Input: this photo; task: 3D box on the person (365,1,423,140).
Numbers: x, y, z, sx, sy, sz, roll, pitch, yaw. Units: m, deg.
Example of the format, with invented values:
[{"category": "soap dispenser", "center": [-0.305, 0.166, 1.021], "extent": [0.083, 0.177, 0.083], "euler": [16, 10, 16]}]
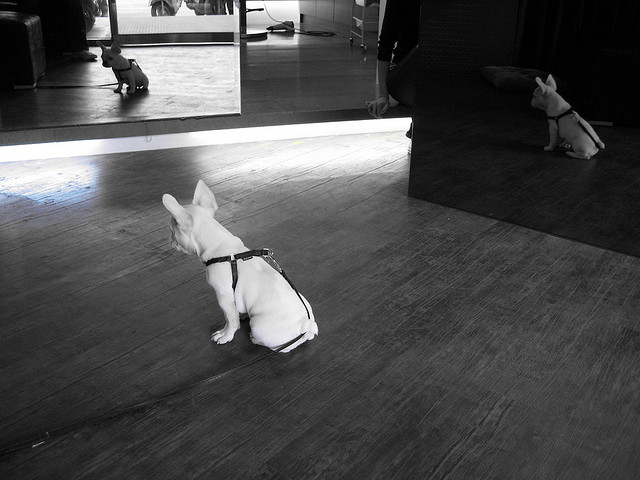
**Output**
[{"category": "person", "center": [0.718, -1.737, 4.172], "extent": [0.561, 1.330, 1.871], "euler": [5, 24, 9]}]

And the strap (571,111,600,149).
[{"category": "strap", "center": [1.824, -0.779, 2.755], "extent": [0.053, 0.286, 0.044], "euler": [-33, -6, 7]}]

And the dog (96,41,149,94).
[{"category": "dog", "center": [-2.113, -1.916, 4.431], "extent": [0.264, 0.497, 0.708], "euler": [5, 24, 10]}]

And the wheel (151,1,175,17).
[{"category": "wheel", "center": [-1.619, -2.409, 4.140], "extent": [0.232, 0.145, 0.039], "euler": [1, 25, 1]}]

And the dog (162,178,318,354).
[{"category": "dog", "center": [-0.338, 0.156, 1.811], "extent": [0.820, 0.583, 0.330], "euler": [26, 38, 20]}]

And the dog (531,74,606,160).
[{"category": "dog", "center": [1.761, -0.872, 2.821], "extent": [0.232, 0.511, 0.651], "euler": [-29, 39, 3]}]

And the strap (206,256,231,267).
[{"category": "strap", "center": [-0.427, 0.090, 1.687], "extent": [0.109, 0.048, 0.025], "euler": [4, 25, 7]}]

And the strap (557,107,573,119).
[{"category": "strap", "center": [1.705, -0.895, 2.788], "extent": [0.088, 0.023, 0.085], "euler": [5, 4, 2]}]

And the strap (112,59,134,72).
[{"category": "strap", "center": [-2.093, -1.873, 4.285], "extent": [0.162, 0.037, 0.150], "euler": [3, 9, 9]}]
